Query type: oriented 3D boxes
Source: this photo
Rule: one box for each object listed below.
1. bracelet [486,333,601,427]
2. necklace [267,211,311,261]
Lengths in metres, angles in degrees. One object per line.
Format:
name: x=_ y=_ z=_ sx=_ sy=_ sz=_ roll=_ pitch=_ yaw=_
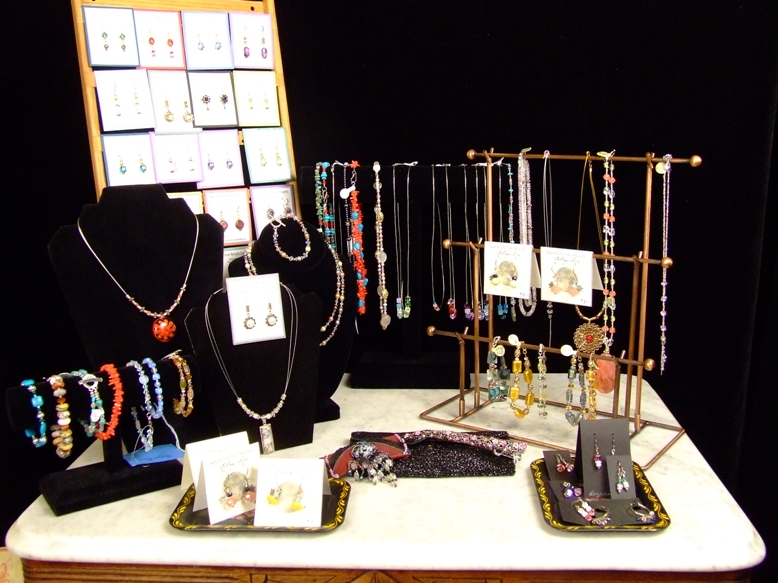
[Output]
bracelet: x=0.601 y=0.352 z=2.254 sx=0.342 sy=0.257 sz=0.075 roll=3 pitch=1 yaw=21
necklace: x=-0.373 y=-0.210 z=2.198 sx=0.159 sy=0.187 sz=0.081 roll=-2 pitch=13 yaw=-1
